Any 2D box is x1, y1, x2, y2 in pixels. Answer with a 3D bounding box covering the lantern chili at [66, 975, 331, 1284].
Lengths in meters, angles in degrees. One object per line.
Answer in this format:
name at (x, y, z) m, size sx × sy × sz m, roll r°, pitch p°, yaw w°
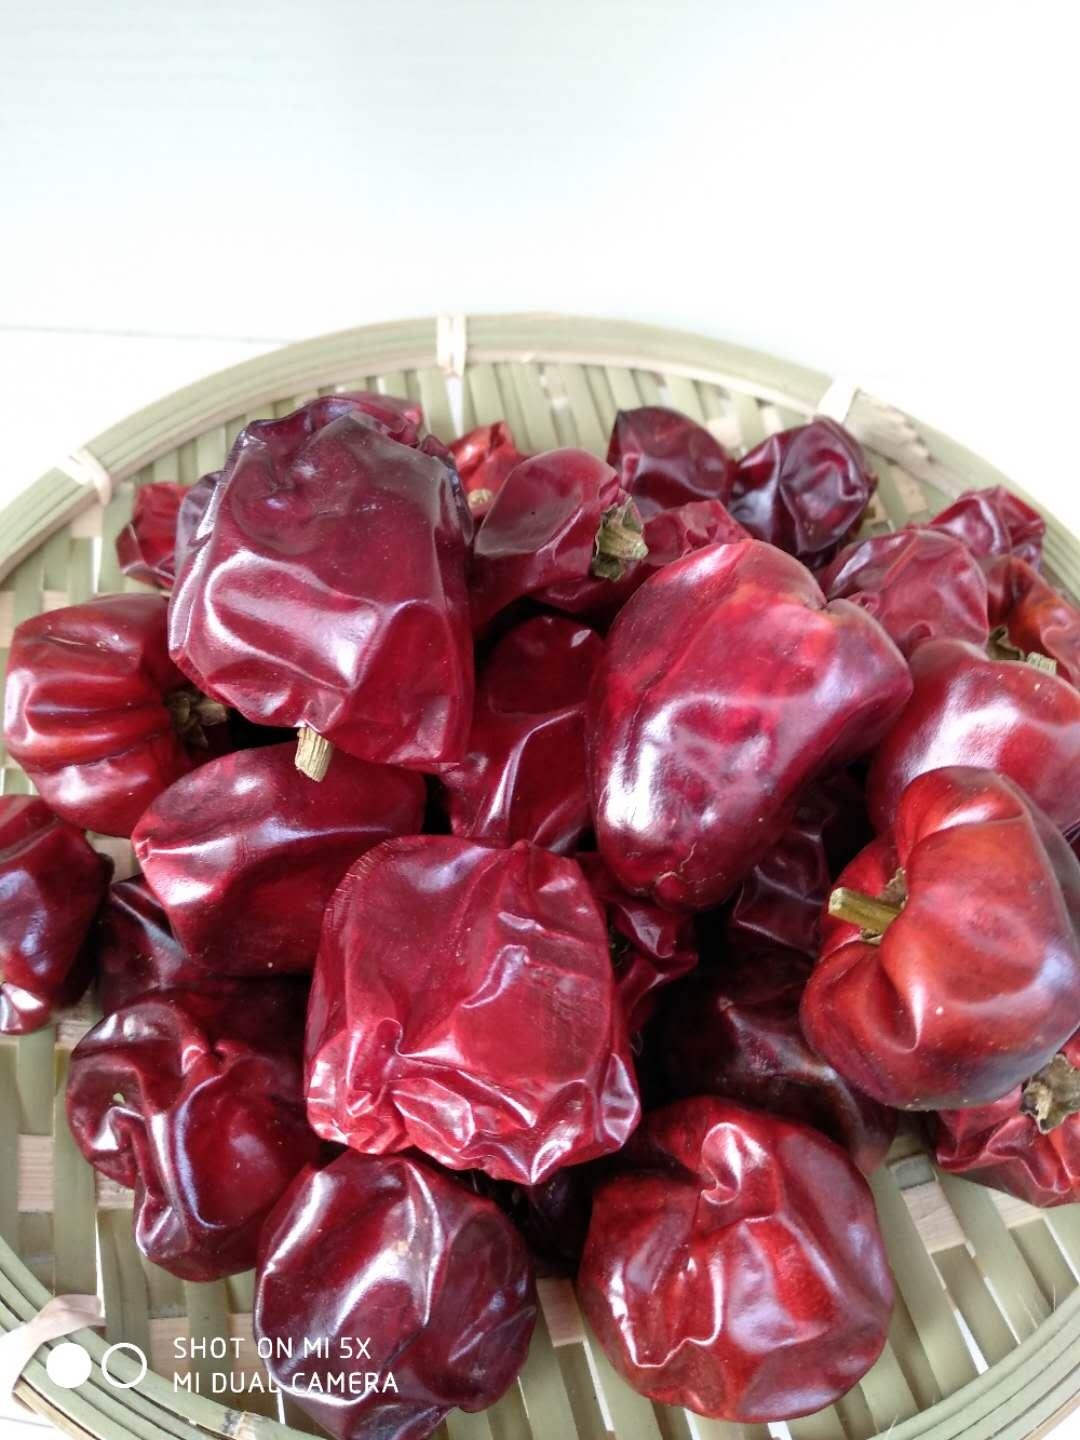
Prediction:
lantern chili at (-0.160, 0.191, 0.629) m, size 0.129 × 0.144 × 0.062 m, roll -4°, pitch -9°, yaw 19°
